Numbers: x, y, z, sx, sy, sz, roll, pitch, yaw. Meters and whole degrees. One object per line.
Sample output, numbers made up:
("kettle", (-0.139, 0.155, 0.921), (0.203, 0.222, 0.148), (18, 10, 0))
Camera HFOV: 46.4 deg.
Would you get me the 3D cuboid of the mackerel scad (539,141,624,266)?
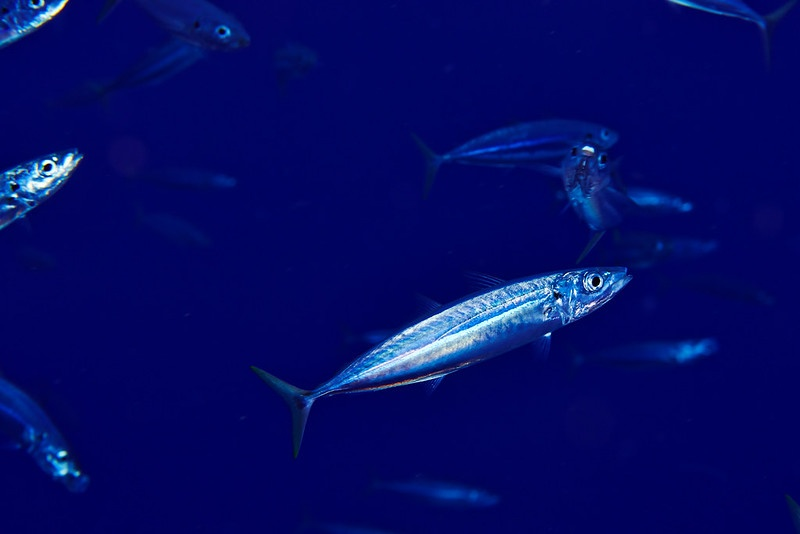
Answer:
("mackerel scad", (1.575, -0.561, 7.390), (0.550, 1.094, 0.470), (-14, 31, -1))
